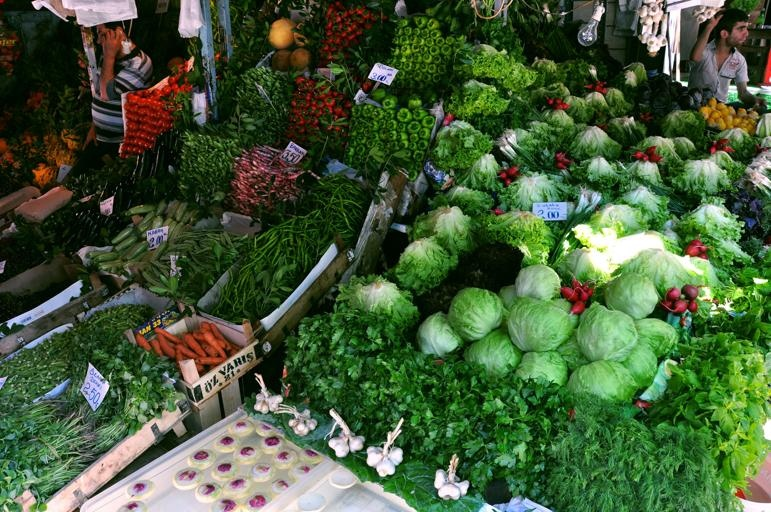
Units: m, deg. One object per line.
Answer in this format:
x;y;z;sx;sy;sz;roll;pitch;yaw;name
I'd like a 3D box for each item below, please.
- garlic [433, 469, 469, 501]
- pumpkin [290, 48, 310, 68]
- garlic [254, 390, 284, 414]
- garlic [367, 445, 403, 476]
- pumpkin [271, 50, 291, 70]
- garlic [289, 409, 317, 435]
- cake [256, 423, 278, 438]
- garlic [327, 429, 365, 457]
0.418;1.483;3.385;0.183;0.075;0.188;10;37;-2;garlic
-0.924;-2.148;5.707;0.198;0.202;0.235;-13;50;-3;pumpkin
-0.885;1.105;3.891;0.166;0.069;0.173;4;41;16;garlic
-0.008;1.367;3.473;0.189;0.079;0.195;-1;7;34;garlic
-1.177;-2.180;5.843;0.220;0.224;0.262;9;17;-24;pumpkin
-0.596;1.213;3.768;0.148;0.082;0.171;5;30;-9;garlic
-0.901;1.312;3.876;0.165;0.038;0.097;23;47;16;cake
-0.290;1.281;3.608;0.181;0.076;0.176;-1;11;44;garlic
